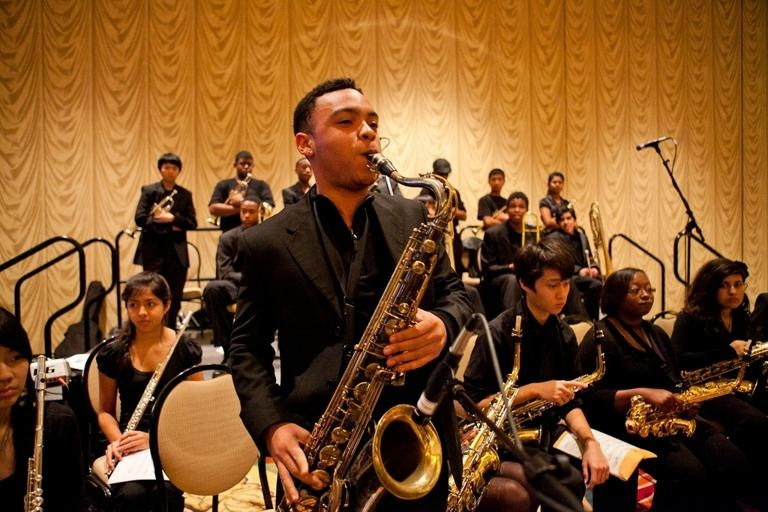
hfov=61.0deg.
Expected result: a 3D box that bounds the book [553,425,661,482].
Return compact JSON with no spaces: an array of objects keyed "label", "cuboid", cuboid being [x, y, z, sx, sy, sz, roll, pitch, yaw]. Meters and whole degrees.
[{"label":"book","cuboid":[1.603,1.447,4.846,0.532,0.157,0.382,17,33,38]}]

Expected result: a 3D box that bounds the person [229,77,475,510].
[{"label":"person","cuboid":[-0.277,0.194,4.044,1.067,3.014,1.398,2,3,37]}]

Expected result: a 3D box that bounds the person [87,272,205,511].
[{"label":"person","cuboid":[-1.889,1.015,5.275,0.784,1.994,0.707,-2,3,-42]}]

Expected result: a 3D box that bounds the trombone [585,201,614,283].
[{"label":"trombone","cuboid":[3.588,-0.124,10.914,0.319,1.599,0.405,-7,7,4]}]

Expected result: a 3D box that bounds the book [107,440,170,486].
[{"label":"book","cuboid":[-1.883,1.581,4.903,0.317,0.201,0.240,1,-2,-18]}]
